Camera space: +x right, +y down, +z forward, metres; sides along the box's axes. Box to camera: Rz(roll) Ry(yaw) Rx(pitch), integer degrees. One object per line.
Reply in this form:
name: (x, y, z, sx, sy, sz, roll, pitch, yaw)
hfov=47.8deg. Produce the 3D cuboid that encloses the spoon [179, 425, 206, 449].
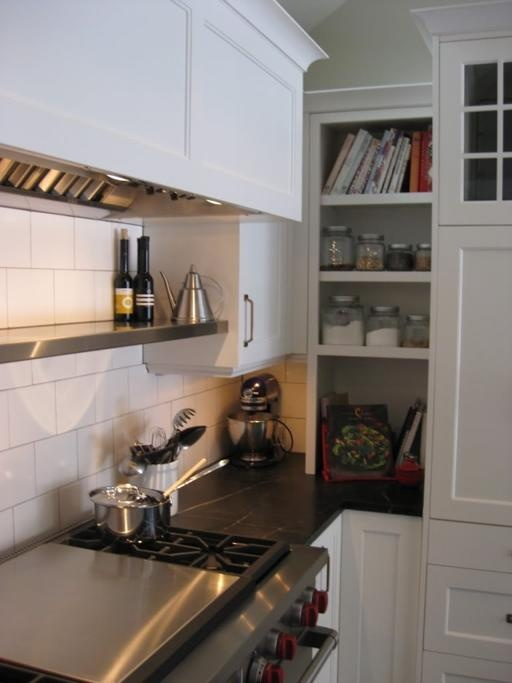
spoon: (-0.197, 0.301, 1.822, 0.064, 0.068, 0.148, 6, 0, 9)

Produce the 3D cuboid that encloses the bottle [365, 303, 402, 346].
bottle: (0.533, -0.056, 2.257, 0.138, 0.186, 0.150, 0, 0, 0)

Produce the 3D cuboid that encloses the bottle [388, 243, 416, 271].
bottle: (0.571, -0.327, 2.279, 0.106, 0.101, 0.106, 0, -1, 11)

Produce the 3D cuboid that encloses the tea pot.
tea pot: (-0.170, -0.157, 1.819, 0.209, 0.183, 0.158, 1, 7, 13)

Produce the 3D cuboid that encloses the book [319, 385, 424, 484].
book: (0.468, 0.290, 2.419, 0.536, 0.425, 0.291, 0, -2, 12)

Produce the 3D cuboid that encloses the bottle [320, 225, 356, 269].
bottle: (0.329, -0.378, 2.361, 0.167, 0.239, 0.168, 0, 3, 0)

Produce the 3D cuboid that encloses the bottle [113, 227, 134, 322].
bottle: (-0.388, -0.192, 1.719, 0.065, 0.286, 0.252, 6, 0, -14)

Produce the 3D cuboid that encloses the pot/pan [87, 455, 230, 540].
pot/pan: (-0.260, 0.418, 1.673, 0.155, 0.122, 0.385, 7, 7, 33)

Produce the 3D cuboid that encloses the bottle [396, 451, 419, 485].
bottle: (0.589, 0.502, 2.272, 0.103, 0.103, 0.100, -2, 1, 20)

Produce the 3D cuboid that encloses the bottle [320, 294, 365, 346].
bottle: (0.387, -0.087, 2.296, 0.182, 0.250, 0.196, 0, 2, 0)

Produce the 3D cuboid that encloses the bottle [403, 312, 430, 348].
bottle: (0.623, -0.035, 2.252, 0.118, 0.152, 0.111, 2, -5, 0)
